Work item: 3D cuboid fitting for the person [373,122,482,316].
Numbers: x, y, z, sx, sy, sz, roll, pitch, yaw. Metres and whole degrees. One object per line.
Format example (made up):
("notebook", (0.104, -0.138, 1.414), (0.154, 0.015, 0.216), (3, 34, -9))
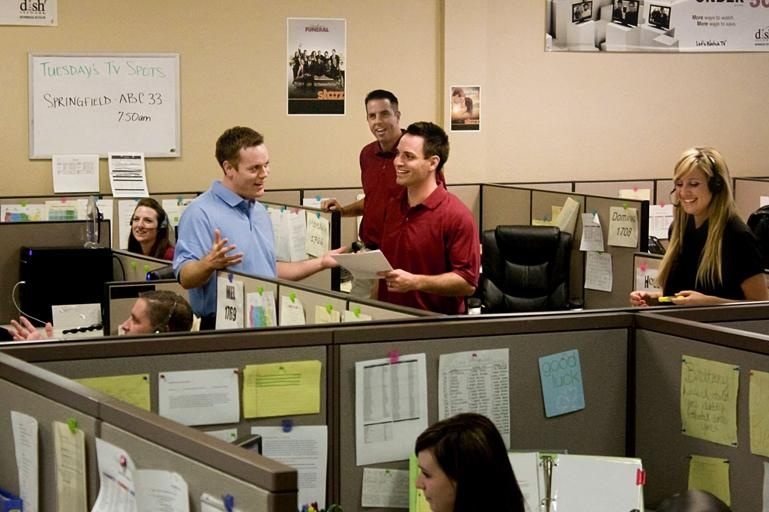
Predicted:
("person", (0.185, -0.159, 2.957), (0.442, 0.851, 0.754), (-2, 7, -1))

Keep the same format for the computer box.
("computer box", (-1.883, 0.180, 4.040), (0.430, 0.391, 0.222), (1, 4, -9))

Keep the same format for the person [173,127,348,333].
("person", (-0.627, -0.126, 3.019), (0.572, 0.885, 0.473), (-6, 8, -31))

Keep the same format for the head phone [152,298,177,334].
("head phone", (-0.843, 0.231, 2.610), (0.036, 0.111, 0.088), (26, -21, 1))

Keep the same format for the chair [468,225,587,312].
("chair", (1.004, 0.030, 4.957), (0.579, 0.770, 0.619), (0, 8, 1))
